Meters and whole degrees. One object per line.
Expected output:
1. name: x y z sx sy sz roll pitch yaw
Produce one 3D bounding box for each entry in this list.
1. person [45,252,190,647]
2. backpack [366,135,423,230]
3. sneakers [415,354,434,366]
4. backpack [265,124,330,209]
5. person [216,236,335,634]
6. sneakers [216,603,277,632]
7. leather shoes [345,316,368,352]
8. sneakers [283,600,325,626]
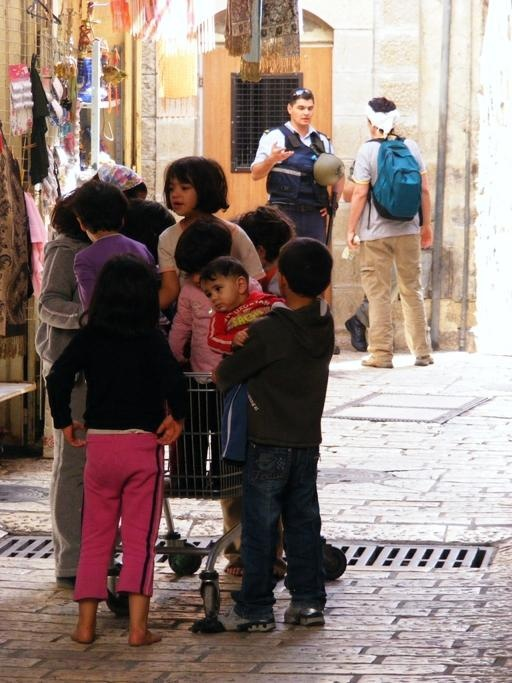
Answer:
1. person: -0.425 0.319 2.750 0.423 1.160 0.264 -2 5 4
2. backpack: 1.334 -1.573 8.692 0.493 0.685 0.741 -4 17 -3
3. sneakers: 1.693 0.189 9.222 0.177 0.101 0.094 -13 14 -28
4. backpack: 0.409 -1.613 8.278 0.574 0.699 0.491 4 8 2
5. person: 0.075 0.292 2.848 0.421 1.225 0.191 -5 5 -29
6. sneakers: -0.028 0.868 2.853 0.199 0.082 0.068 2 -4 8
7. leather shoes: 1.105 -0.096 10.033 0.264 0.339 0.123 -6 21 39
8. sneakers: 0.149 0.862 2.908 0.059 0.064 0.137 -1 4 -31
